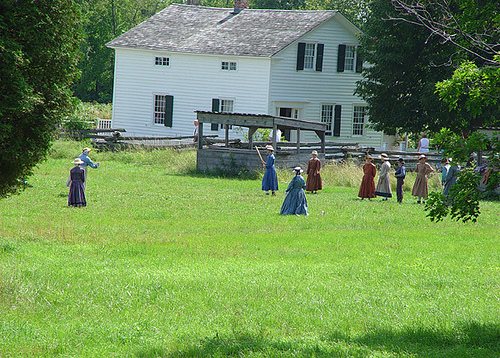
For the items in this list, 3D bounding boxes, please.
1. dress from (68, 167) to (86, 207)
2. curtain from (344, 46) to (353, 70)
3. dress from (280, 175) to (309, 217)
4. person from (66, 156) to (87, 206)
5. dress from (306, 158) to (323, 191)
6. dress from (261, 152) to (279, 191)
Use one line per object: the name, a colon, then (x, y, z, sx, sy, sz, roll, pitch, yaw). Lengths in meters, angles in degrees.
dress: (-6.127, 0.269, 37.962, 0.624, 1.372, 0.753, 3, 2, -10)
curtain: (5.177, -6.289, 55.868, 0.507, 0.784, 0.228, 3, 2, -15)
dress: (1.674, 0.500, 38.110, 1.013, 1.344, 0.997, 4, 8, -18)
person: (-6.193, 0.091, 38.304, 0.695, 1.675, 1.297, 3, 2, -9)
dress: (2.590, -0.170, 42.910, 0.625, 1.329, 0.603, 4, 2, 4)
dress: (0.815, -0.284, 41.753, 0.630, 1.442, 0.940, 4, 2, 1)
